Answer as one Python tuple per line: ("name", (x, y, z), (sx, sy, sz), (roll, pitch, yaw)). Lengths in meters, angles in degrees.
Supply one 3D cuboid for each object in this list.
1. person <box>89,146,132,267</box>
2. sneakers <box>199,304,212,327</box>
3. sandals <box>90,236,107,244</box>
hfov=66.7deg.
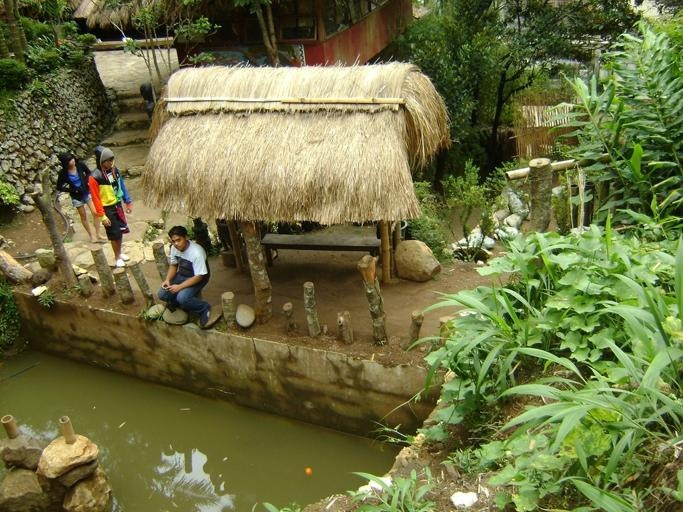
("person", (-3.743, -0.805, 8.481), (0.527, 1.985, 0.565), (-15, 21, -17))
("sneakers", (-1.846, 0.796, 7.023), (0.181, 0.300, 0.106), (-4, -5, 12))
("sandals", (-4.573, -0.321, 9.775), (0.342, 0.109, 0.222), (-3, -14, -15))
